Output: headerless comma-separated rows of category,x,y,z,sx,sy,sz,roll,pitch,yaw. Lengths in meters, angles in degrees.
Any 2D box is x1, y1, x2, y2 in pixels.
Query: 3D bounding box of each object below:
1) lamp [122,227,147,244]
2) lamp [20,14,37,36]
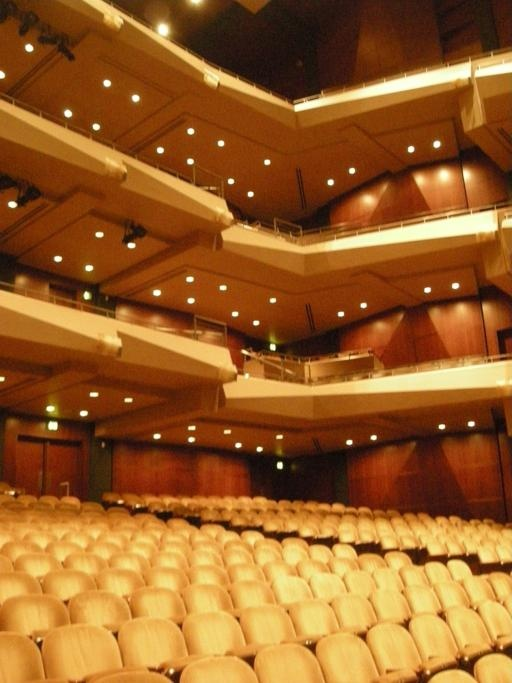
lamp,-2.143,-1.855,10.272,0.382,0.333,0.292,-2,-12,-12
lamp,-3.347,-4.619,8.566,0.227,0.316,0.201,2,-13,-30
